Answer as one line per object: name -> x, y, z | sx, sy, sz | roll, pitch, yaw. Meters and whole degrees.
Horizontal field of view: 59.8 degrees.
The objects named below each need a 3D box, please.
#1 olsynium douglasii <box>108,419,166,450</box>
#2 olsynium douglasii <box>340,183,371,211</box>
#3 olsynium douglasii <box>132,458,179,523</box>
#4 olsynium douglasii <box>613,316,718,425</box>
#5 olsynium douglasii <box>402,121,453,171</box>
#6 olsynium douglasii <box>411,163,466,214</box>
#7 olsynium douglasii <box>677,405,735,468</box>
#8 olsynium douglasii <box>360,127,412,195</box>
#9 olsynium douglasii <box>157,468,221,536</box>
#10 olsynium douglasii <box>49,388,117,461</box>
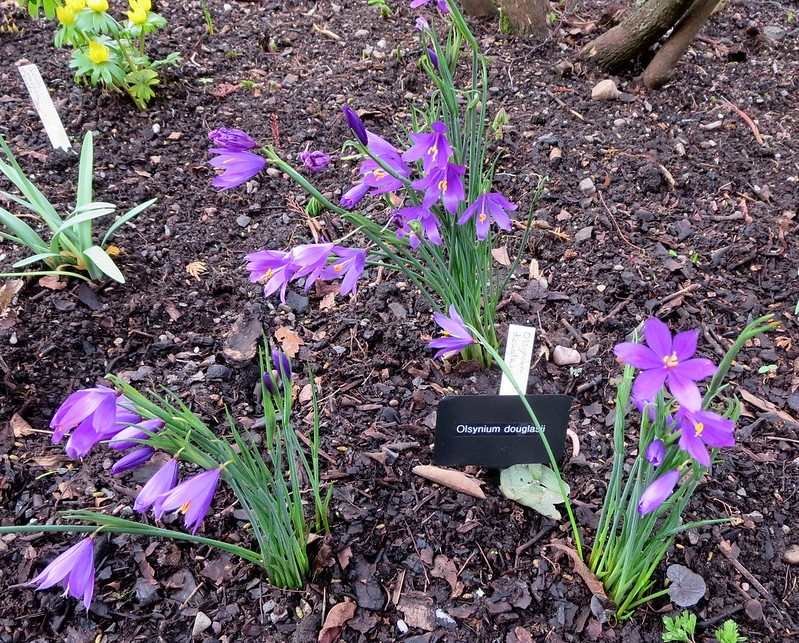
olsynium douglasii -> -0.659, 0.282, 1.732 | 0.120, 0.044, 0.044 | -27, 76, -20
olsynium douglasii -> -0.132, -0.382, 2.128 | 0.125, 0.049, 0.069 | -42, 115, -42
olsynium douglasii -> -0.590, 0.407, 1.727 | 0.093, 0.059, 0.171 | 34, 64, -26
olsynium douglasii -> 0.592, 0.099, 1.558 | 0.219, 0.140, 0.146 | 24, 53, 6
olsynium douglasii -> 0.085, -0.478, 1.901 | 0.127, 0.138, 0.066 | 22, 45, 2
olsynium douglasii -> 0.113, -0.379, 1.970 | 0.142, 0.135, 0.076 | 6, 50, 0
olsynium douglasii -> 0.690, 0.258, 1.610 | 0.116, 0.170, 0.061 | -9, 109, -12
olsynium douglasii -> -0.046, -0.458, 2.043 | 0.081, 0.145, 0.187 | -23, 100, -39
olsynium douglasii -> -0.524, 0.448, 1.751 | 0.119, 0.078, 0.181 | 36, 62, -9
olsynium douglasii -> -0.743, 0.239, 1.687 | 0.132, 0.086, 0.176 | 37, 78, -5
